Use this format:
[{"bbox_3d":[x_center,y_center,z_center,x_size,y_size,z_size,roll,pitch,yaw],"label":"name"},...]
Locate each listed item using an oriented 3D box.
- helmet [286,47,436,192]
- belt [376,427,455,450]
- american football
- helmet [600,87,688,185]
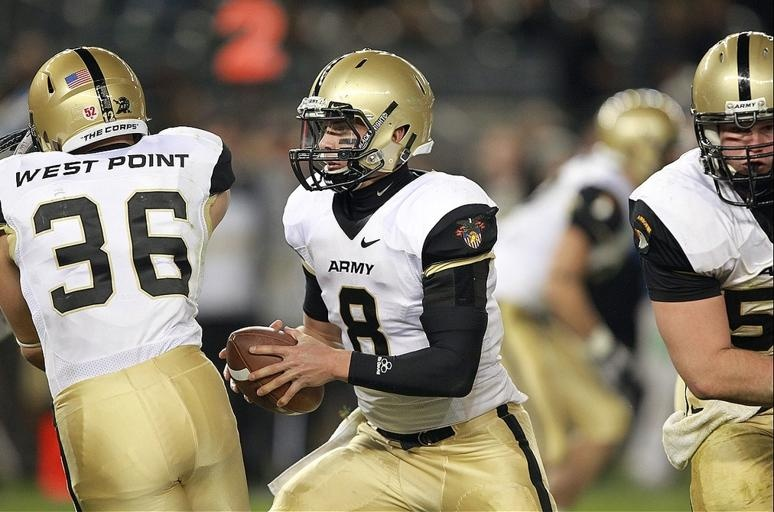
[{"bbox_3d":[-0.104,-0.582,4.036,0.659,0.553,0.477,-10,15,-33],"label":"helmet"},{"bbox_3d":[0.123,0.742,3.863,0.141,0.046,0.155,15,-13,-43],"label":"belt"},{"bbox_3d":[-0.454,0.476,3.882,0.406,0.245,0.277,30,17,-10],"label":"american football"},{"bbox_3d":[1.564,-0.724,5.914,0.542,0.566,0.335,-8,8,-22],"label":"helmet"}]
